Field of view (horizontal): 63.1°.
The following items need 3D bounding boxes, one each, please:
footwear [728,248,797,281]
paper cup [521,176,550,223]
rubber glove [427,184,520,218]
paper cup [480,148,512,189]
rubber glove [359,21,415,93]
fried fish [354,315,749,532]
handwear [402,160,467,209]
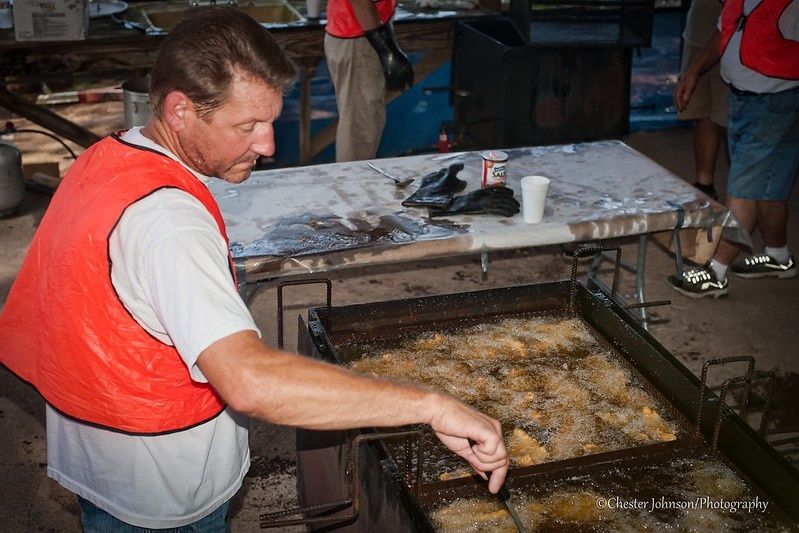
[{"bbox_3d":[2.634,-0.012,4.811,0.508,0.214,0.166,2,19,4],"label":"footwear"},{"bbox_3d":[0.675,-0.341,3.257,0.123,0.217,0.182,1,24,11],"label":"paper cup"},{"bbox_3d":[0.408,-0.330,3.327,0.341,0.089,0.192,-7,38,-2],"label":"rubber glove"},{"bbox_3d":[0.512,-0.512,3.573,0.162,0.158,0.153,-1,15,0],"label":"paper cup"},{"bbox_3d":[-0.065,-1.561,4.879,0.338,0.511,0.157,5,46,29],"label":"rubber glove"},{"bbox_3d":[0.513,0.628,2.527,0.691,0.122,0.920,-10,33,-18],"label":"fried fish"},{"bbox_3d":[0.170,-0.489,3.650,0.156,0.348,0.466,32,6,8],"label":"handwear"}]
